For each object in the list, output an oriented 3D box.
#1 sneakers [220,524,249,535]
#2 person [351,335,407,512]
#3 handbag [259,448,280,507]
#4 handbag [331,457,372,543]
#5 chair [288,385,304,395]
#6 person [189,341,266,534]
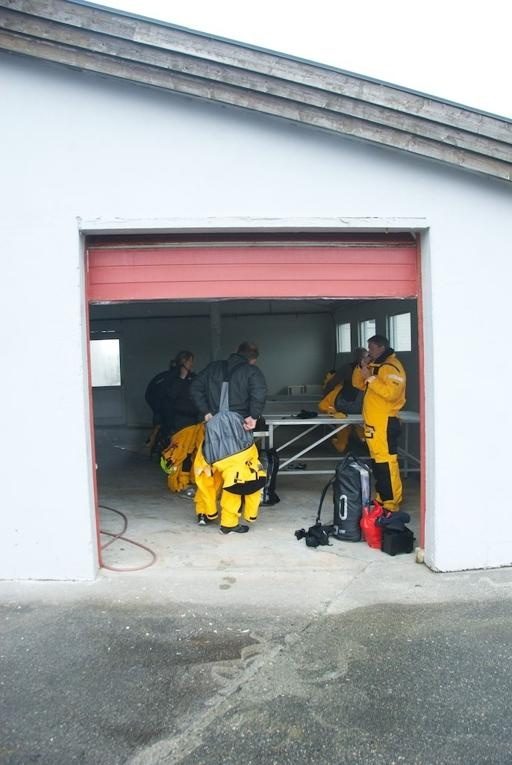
[{"bbox_3d":[-0.163,1.152,5.415,0.243,0.096,0.078,-3,3,-21],"label":"sneakers"},{"bbox_3d":[1.039,0.331,5.631,0.354,1.397,0.465,0,8,7],"label":"person"},{"bbox_3d":[0.143,0.914,6.577,0.332,0.417,0.443,0,-5,2],"label":"handbag"},{"bbox_3d":[0.719,0.891,5.129,0.273,0.544,0.256,1,8,9],"label":"handbag"},{"bbox_3d":[0.730,0.139,12.106,0.275,0.170,0.141,1,-9,3],"label":"chair"},{"bbox_3d":[-0.212,0.460,5.462,0.576,1.515,0.702,-2,8,-5],"label":"person"}]
